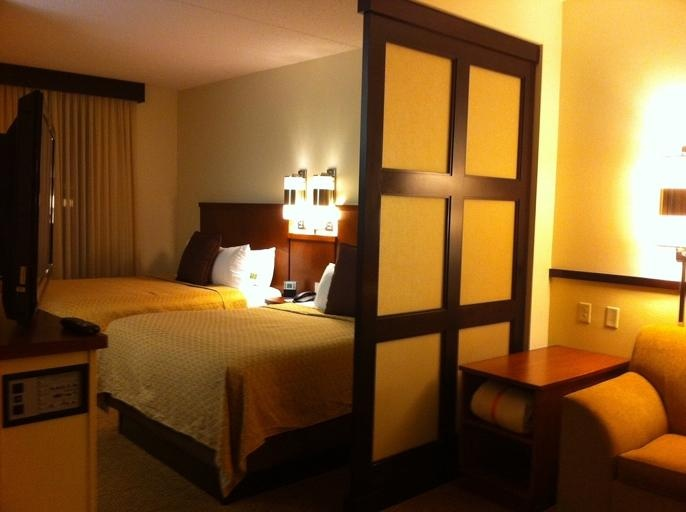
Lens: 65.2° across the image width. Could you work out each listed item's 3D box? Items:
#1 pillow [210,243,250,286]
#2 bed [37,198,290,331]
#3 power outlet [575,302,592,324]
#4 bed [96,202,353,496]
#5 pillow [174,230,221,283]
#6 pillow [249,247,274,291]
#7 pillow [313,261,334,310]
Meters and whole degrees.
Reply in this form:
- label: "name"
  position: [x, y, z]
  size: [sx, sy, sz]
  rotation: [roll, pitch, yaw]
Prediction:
- label: "pillow"
  position: [-1.156, 0.100, 5.464]
  size: [0.383, 0.278, 0.136]
  rotation: [4, -23, 48]
- label: "bed"
  position: [-1.791, 0.188, 5.458]
  size: [1.583, 1.012, 1.712]
  rotation: [5, 1, 26]
- label: "power outlet"
  position: [1.600, 0.375, 3.555]
  size: [0.024, 0.187, 0.131]
  rotation: [-1, 4, -38]
- label: "bed"
  position: [-0.623, 0.573, 3.568]
  size: [1.324, 1.212, 1.317]
  rotation: [2, 2, -42]
- label: "pillow"
  position: [-1.511, 0.021, 5.632]
  size: [0.481, 0.517, 0.190]
  rotation: [0, -21, 43]
- label: "pillow"
  position: [-0.815, 0.108, 5.435]
  size: [0.337, 0.340, 0.093]
  rotation: [-2, -1, -15]
- label: "pillow"
  position: [-0.155, 0.273, 4.422]
  size: [0.121, 0.294, 0.294]
  rotation: [12, -9, 3]
